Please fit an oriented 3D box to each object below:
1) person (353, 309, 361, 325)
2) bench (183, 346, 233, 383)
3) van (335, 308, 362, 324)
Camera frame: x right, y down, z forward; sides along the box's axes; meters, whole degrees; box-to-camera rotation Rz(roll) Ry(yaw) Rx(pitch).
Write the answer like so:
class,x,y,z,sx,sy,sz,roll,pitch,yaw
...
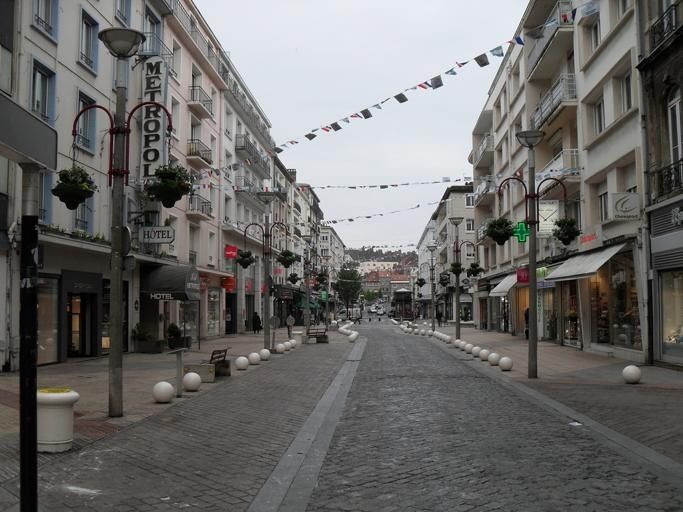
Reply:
class,x,y,z,sx,sy,sz,roll,pitch,yaw
person,1.853,7.325,78.811,1.058,1.566,2.381,-1,-7,1
bench,-3.641,2.953,18.098,0.677,0.926,2.070,0,-5,4
van,0.855,7.425,82.028,1.708,1.412,4.298,-2,1,5
